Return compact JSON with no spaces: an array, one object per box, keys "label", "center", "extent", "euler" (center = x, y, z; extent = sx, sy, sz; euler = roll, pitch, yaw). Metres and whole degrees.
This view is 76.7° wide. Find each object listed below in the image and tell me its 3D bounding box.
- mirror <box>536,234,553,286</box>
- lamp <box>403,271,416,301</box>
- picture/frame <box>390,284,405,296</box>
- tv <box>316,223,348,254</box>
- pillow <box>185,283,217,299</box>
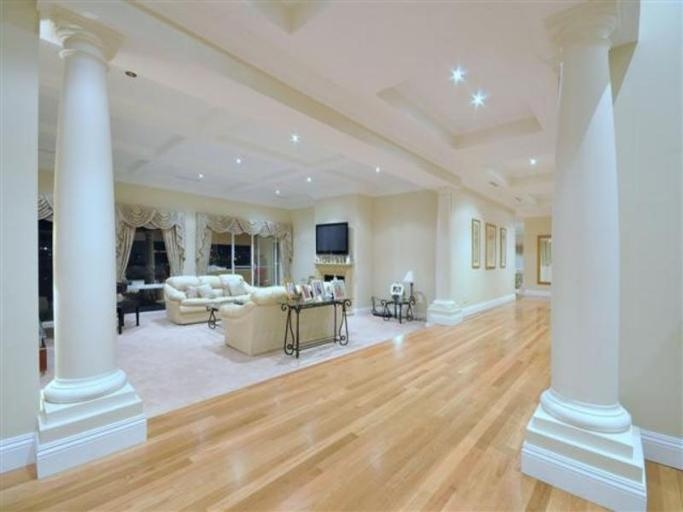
[{"label":"mirror","center":[5.919,0.076,12.441],"extent":[0.462,1.451,0.373],"euler":[-5,12,-21]},{"label":"lamp","center":[1.311,0.530,8.306],"extent":[0.223,0.553,0.456],"euler":[1,12,8]},{"label":"picture/frame","center":[1.101,0.630,8.386],"extent":[0.279,0.205,0.484],"euler":[1,12,4]},{"label":"tv","center":[-0.186,-0.374,9.292],"extent":[0.210,0.789,1.051],"euler":[-10,15,-40]},{"label":"pillow","center":[-2.633,0.642,8.056],"extent":[0.298,0.131,0.312],"euler":[-11,40,-23]}]
